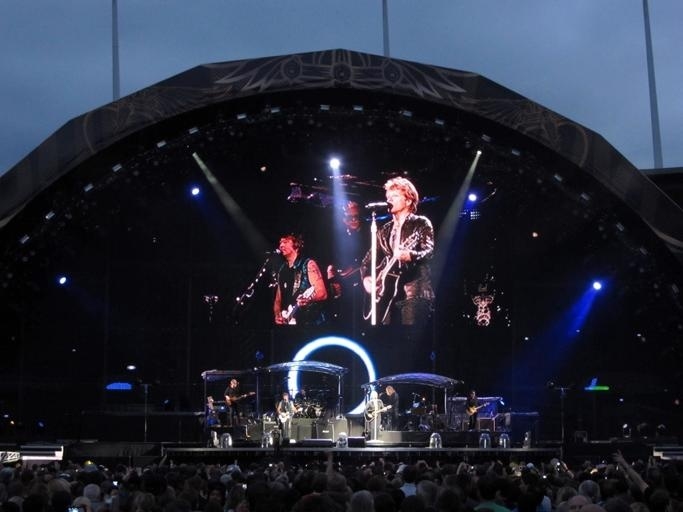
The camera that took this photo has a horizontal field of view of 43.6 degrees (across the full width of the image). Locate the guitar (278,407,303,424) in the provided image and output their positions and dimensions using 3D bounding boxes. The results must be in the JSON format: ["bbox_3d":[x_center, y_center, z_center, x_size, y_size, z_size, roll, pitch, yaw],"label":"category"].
[{"bbox_3d":[-1.738,5.380,28.490,0.089,0.329,0.754,-36,-23,35],"label":"guitar"}]

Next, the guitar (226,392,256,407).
[{"bbox_3d":[-3.818,5.321,31.649,0.387,0.544,1.206,-5,-14,30],"label":"guitar"}]

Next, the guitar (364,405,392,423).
[{"bbox_3d":[1.302,5.420,29.312,0.689,0.599,1.084,-8,-15,39],"label":"guitar"}]

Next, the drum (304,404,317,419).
[{"bbox_3d":[-1.025,5.252,28.691,0.277,0.385,0.196,2,-52,1],"label":"drum"}]

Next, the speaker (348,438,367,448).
[{"bbox_3d":[0.485,6.020,27.530,0.589,0.318,0.821,2,-12,0],"label":"speaker"}]
